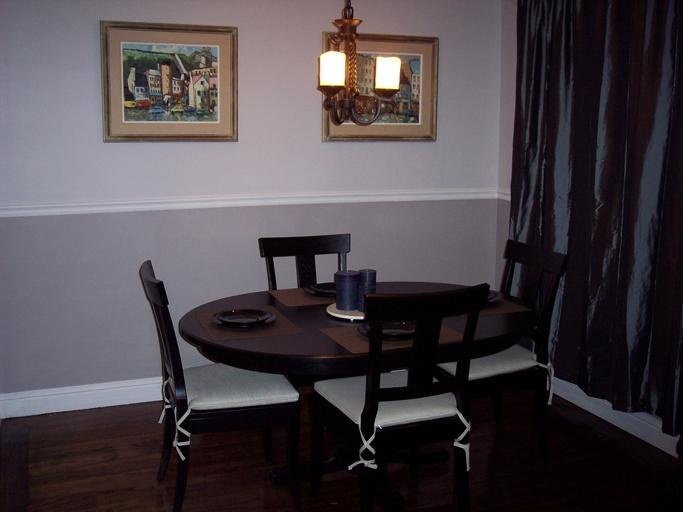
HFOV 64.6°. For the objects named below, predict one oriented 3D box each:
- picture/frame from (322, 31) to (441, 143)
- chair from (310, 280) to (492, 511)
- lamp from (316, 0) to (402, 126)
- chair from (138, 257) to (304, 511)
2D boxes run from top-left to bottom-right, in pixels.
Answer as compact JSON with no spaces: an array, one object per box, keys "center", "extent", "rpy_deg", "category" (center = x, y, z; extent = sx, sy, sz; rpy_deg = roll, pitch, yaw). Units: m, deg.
[{"center":[0.247,-1.141,3.570],"extent":[0.835,0.811,0.033],"rpy_deg":[-1,16,-13],"category":"picture/frame"},{"center":[0.267,0.673,2.539],"extent":[0.720,1.123,0.681],"rpy_deg":[-7,20,-24],"category":"chair"},{"center":[0.128,-1.104,3.163],"extent":[0.412,0.665,0.931],"rpy_deg":[-1,16,7],"category":"lamp"},{"center":[-0.651,0.566,3.272],"extent":[1.009,1.841,0.992],"rpy_deg":[-4,15,-21],"category":"chair"}]
